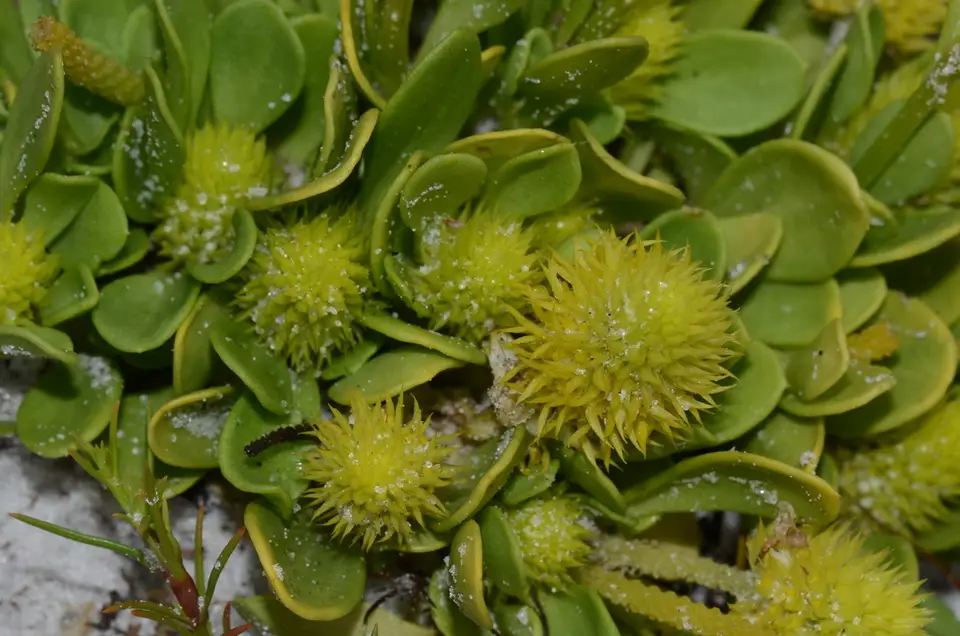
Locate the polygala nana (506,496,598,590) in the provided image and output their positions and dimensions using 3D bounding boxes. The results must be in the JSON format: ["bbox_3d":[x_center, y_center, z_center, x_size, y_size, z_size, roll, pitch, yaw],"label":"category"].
[{"bbox_3d":[0.105,0.326,1.461,0.125,0.095,0.113,-23,62,-26],"label":"polygala nana"}]

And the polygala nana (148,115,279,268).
[{"bbox_3d":[-0.392,-0.187,1.529,0.146,0.226,0.121,32,12,6],"label":"polygala nana"}]

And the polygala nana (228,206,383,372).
[{"bbox_3d":[-0.257,-0.031,1.452,0.195,0.173,0.153,-10,55,-19],"label":"polygala nana"}]
